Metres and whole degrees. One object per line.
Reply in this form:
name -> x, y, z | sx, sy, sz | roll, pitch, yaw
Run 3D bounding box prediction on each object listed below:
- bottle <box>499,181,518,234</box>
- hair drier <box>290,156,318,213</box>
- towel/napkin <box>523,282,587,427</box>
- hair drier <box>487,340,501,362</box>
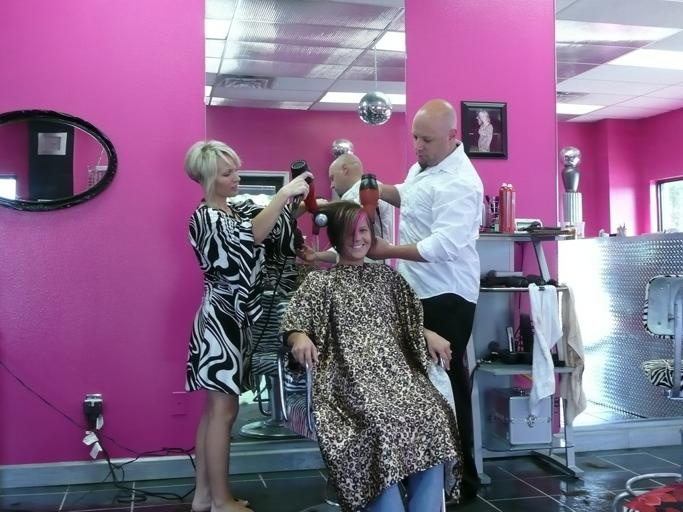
bottle -> 1.055, -0.302, 4.062 | 0.104, 0.304, 0.119 | 1, 6, 12
hair drier -> -0.190, -0.379, 3.348 | 0.100, 0.332, 0.092 | -23, 23, -19
towel/napkin -> 1.296, 0.597, 3.902 | 0.411, 0.876, 0.248 | -3, 7, -29
hair drier -> 0.978, 0.606, 4.088 | 0.051, 0.103, 0.154 | -2, 36, 19
